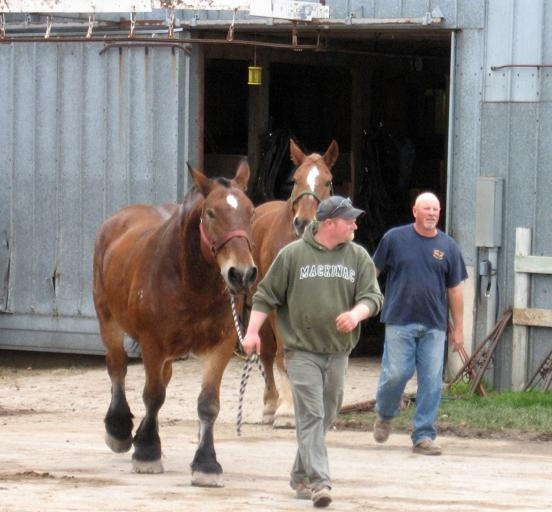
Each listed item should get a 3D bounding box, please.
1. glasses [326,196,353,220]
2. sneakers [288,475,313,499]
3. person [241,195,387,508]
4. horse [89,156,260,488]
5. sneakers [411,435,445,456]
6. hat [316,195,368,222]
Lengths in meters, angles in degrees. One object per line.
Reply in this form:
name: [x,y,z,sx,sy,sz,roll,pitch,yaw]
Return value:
glasses: [0.507,-0.404,11.910,0.129,0.118,0.189,-5,7,-30]
sneakers: [0.211,1.935,12.024,0.086,0.120,0.252,1,2,-21]
person: [0.336,0.760,11.878,1.034,2.483,0.585,2,4,4]
horse: [-0.936,0.516,13.096,0.907,2.753,2.694,0,6,-22]
sneakers: [1.400,1.784,13.542,0.112,0.122,0.287,3,-8,-31]
hat: [0.527,-0.391,11.903,0.285,0.150,0.207,3,11,25]
